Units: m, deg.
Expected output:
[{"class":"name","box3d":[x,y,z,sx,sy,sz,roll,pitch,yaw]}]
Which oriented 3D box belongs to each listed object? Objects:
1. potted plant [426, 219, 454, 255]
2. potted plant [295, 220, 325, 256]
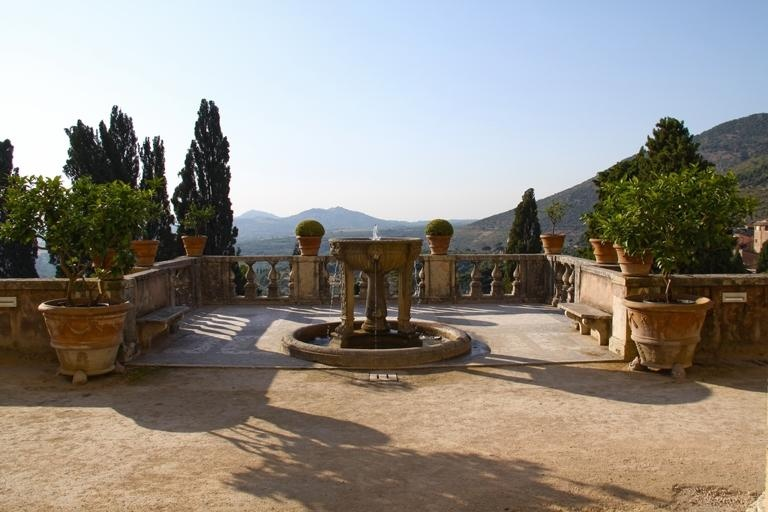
[{"class":"potted plant","box3d":[1.334,-0.484,13.349,0.625,0.863,0.516,1,10,5]},{"class":"potted plant","box3d":[-1.778,-0.456,13.157,0.912,0.916,0.861,1,-4,-2]}]
